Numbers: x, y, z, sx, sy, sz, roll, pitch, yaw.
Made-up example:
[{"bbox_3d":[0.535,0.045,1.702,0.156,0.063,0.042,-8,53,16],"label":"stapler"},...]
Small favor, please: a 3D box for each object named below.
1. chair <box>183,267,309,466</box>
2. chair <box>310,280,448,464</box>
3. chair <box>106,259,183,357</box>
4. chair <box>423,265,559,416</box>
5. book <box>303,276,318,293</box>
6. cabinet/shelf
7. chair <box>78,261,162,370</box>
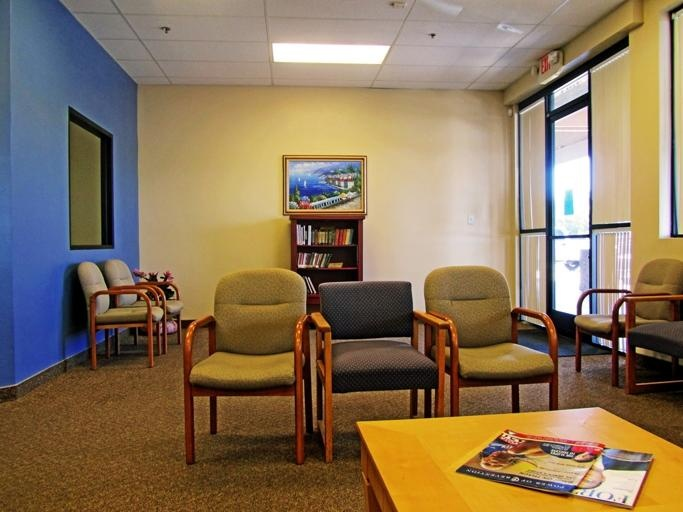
[{"bbox_3d":[-0.652,0.759,3.920,0.786,1.267,0.894,0,1,-1],"label":"chair"},{"bbox_3d":[0.222,0.777,4.190,1.057,1.351,1.131,0,-3,-6],"label":"chair"},{"bbox_3d":[-2.382,0.453,6.674,1.034,1.238,0.772,1,2,8],"label":"chair"},{"bbox_3d":[1.050,0.640,4.007,0.762,1.125,0.953,-2,-1,-8],"label":"chair"},{"bbox_3d":[-0.433,0.390,7.305,0.058,0.252,0.239,-27,23,-38],"label":"book"},{"bbox_3d":[-0.232,0.082,7.409,0.949,1.255,0.339,3,-14,-8],"label":"cabinet/shelf"},{"bbox_3d":[-2.411,0.605,5.941,0.917,1.093,0.945,1,0,-2],"label":"chair"}]
